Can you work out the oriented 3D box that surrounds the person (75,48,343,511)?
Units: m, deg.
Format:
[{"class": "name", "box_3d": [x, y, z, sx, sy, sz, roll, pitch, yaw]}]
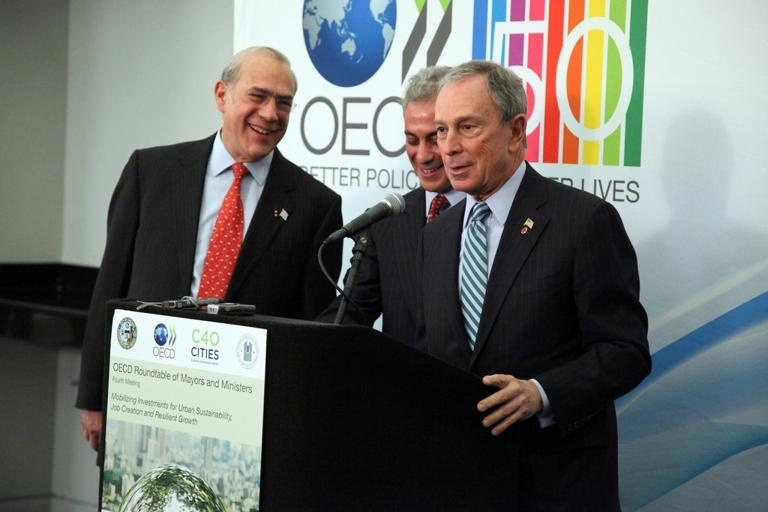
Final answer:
[{"class": "person", "box_3d": [-0.793, -0.071, 3.013, 1.186, 1.691, 0.494, -4, 13, -6]}]

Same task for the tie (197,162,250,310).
[{"class": "tie", "box_3d": [-0.720, -0.065, 2.953, 0.150, 0.743, 0.058, 14, -9, -7]}]
